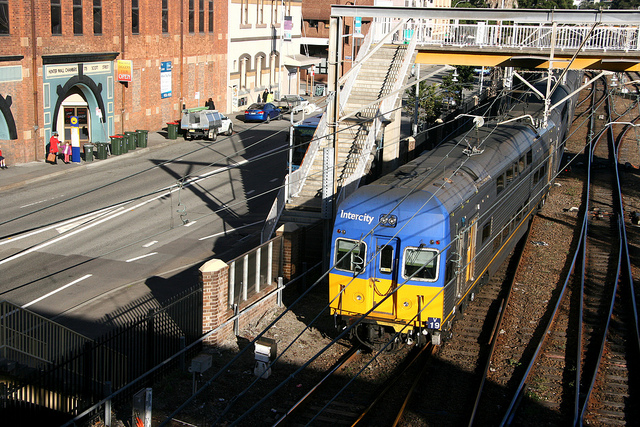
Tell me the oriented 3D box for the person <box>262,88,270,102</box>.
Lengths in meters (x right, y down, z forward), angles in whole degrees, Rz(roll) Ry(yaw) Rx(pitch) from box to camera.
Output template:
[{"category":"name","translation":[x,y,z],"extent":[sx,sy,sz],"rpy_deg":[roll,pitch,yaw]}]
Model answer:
[{"category":"person","translation":[-5.001,-11.042,69.108],"extent":[0.647,0.988,1.457],"rpy_deg":[-1,16,-4]}]

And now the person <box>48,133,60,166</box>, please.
[{"category":"person","translation":[-15.487,-3.778,42.793],"extent":[0.571,1.552,1.465],"rpy_deg":[-3,16,-13]}]

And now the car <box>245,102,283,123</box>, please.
[{"category":"car","translation":[-4.562,-8.146,59.703],"extent":[2.526,1.527,3.327],"rpy_deg":[2,17,3]}]

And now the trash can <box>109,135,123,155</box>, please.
[{"category":"trash can","translation":[-12.654,-4.287,45.955],"extent":[0.746,1.092,0.514],"rpy_deg":[-4,16,-17]}]

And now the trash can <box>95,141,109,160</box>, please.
[{"category":"trash can","translation":[-13.225,-3.816,44.370],"extent":[0.865,1.171,0.906],"rpy_deg":[1,10,4]}]

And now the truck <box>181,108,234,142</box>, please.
[{"category":"truck","translation":[-7.947,-6.514,52.031],"extent":[1.586,1.853,3.723],"rpy_deg":[8,20,26]}]

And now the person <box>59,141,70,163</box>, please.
[{"category":"person","translation":[-14.832,-3.594,43.041],"extent":[0.460,1.106,0.679],"rpy_deg":[-5,17,-20]}]

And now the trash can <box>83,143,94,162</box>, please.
[{"category":"trash can","translation":[-13.754,-3.648,43.733],"extent":[0.592,0.953,0.893],"rpy_deg":[-5,17,-20]}]

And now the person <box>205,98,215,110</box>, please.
[{"category":"person","translation":[-8.960,-8.952,59.865],"extent":[0.710,0.815,1.335],"rpy_deg":[-1,17,-6]}]

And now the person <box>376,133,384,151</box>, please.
[{"category":"person","translation":[2.744,-3.265,33.365],"extent":[0.180,0.715,0.710],"rpy_deg":[10,5,13]}]

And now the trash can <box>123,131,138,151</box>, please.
[{"category":"trash can","translation":[-12.247,-4.750,47.382],"extent":[1.063,1.396,0.897],"rpy_deg":[0,4,-9]}]
